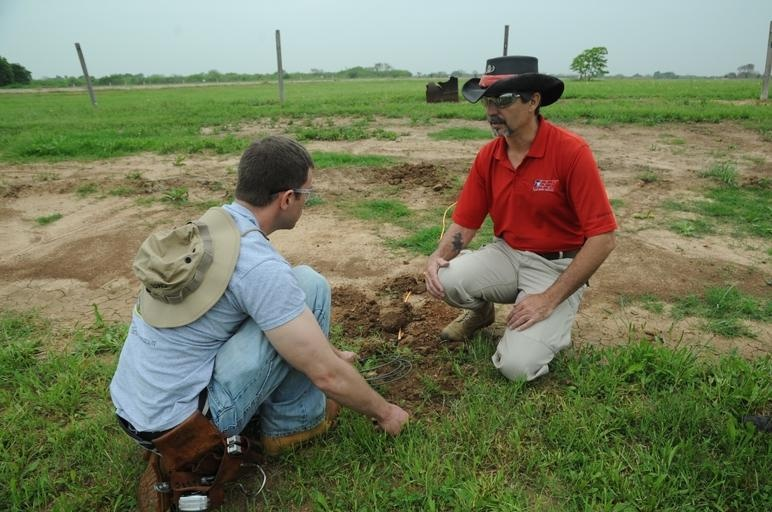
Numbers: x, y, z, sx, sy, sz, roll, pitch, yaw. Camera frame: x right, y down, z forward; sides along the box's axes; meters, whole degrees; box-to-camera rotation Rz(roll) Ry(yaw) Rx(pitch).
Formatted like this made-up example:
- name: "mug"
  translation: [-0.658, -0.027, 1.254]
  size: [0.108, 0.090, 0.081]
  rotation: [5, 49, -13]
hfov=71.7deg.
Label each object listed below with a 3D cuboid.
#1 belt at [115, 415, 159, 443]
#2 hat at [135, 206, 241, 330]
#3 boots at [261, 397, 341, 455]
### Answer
- name: "belt"
  translation: [-1.722, 1.216, 3.696]
  size: [0.233, 0.086, 0.187]
  rotation: [27, 9, -6]
- name: "hat"
  translation: [-1.249, 0.164, 3.733]
  size: [0.704, 0.731, 0.263]
  rotation: [24, -4, 34]
- name: "boots"
  translation: [-0.660, 1.292, 4.182]
  size: [0.381, 0.159, 0.517]
  rotation: [-1, 27, 45]
